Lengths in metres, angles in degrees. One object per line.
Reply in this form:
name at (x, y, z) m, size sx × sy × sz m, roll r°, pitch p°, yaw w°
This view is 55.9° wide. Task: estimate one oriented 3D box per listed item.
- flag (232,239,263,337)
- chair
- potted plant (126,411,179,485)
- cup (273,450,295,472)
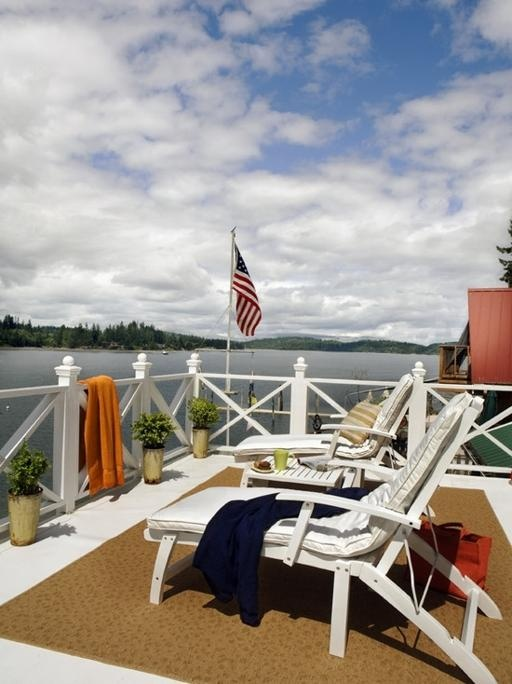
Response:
flag at (-0.212, -1.096, 10.250) m, size 0.578 × 1.995 × 1.051 m, roll 1°, pitch 4°, yaw -1°
chair at (0.349, 0.904, 2.921) m, size 1.915 × 1.309 × 1.092 m, roll 1°, pitch -4°, yaw 22°
potted plant at (-1.072, 1.093, 5.224) m, size 0.613 × 0.882 × 0.628 m, roll 3°, pitch -1°, yaw -1°
cup at (0.232, 0.942, 3.909) m, size 0.114 × 0.163 × 0.179 m, roll -3°, pitch -10°, yaw 17°
